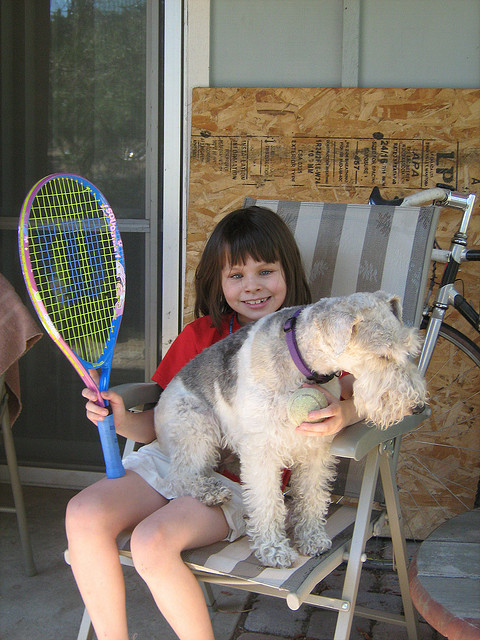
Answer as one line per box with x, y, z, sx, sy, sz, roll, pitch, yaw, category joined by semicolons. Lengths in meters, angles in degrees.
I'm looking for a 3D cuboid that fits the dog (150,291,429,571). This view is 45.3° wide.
0.062;0.217;1.381;0.373;0.627;0.647;-17;27;-41;dog

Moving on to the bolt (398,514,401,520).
0.434;0.533;1.557;0.009;0.004;0.011;0;15;2;bolt

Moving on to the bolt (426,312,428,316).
0.709;-0.025;2.173;0.007;0.012;0.010;13;-10;-40;bolt

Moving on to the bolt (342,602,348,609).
0.233;0.626;1.265;0.012;0.008;0.007;0;20;-5;bolt
